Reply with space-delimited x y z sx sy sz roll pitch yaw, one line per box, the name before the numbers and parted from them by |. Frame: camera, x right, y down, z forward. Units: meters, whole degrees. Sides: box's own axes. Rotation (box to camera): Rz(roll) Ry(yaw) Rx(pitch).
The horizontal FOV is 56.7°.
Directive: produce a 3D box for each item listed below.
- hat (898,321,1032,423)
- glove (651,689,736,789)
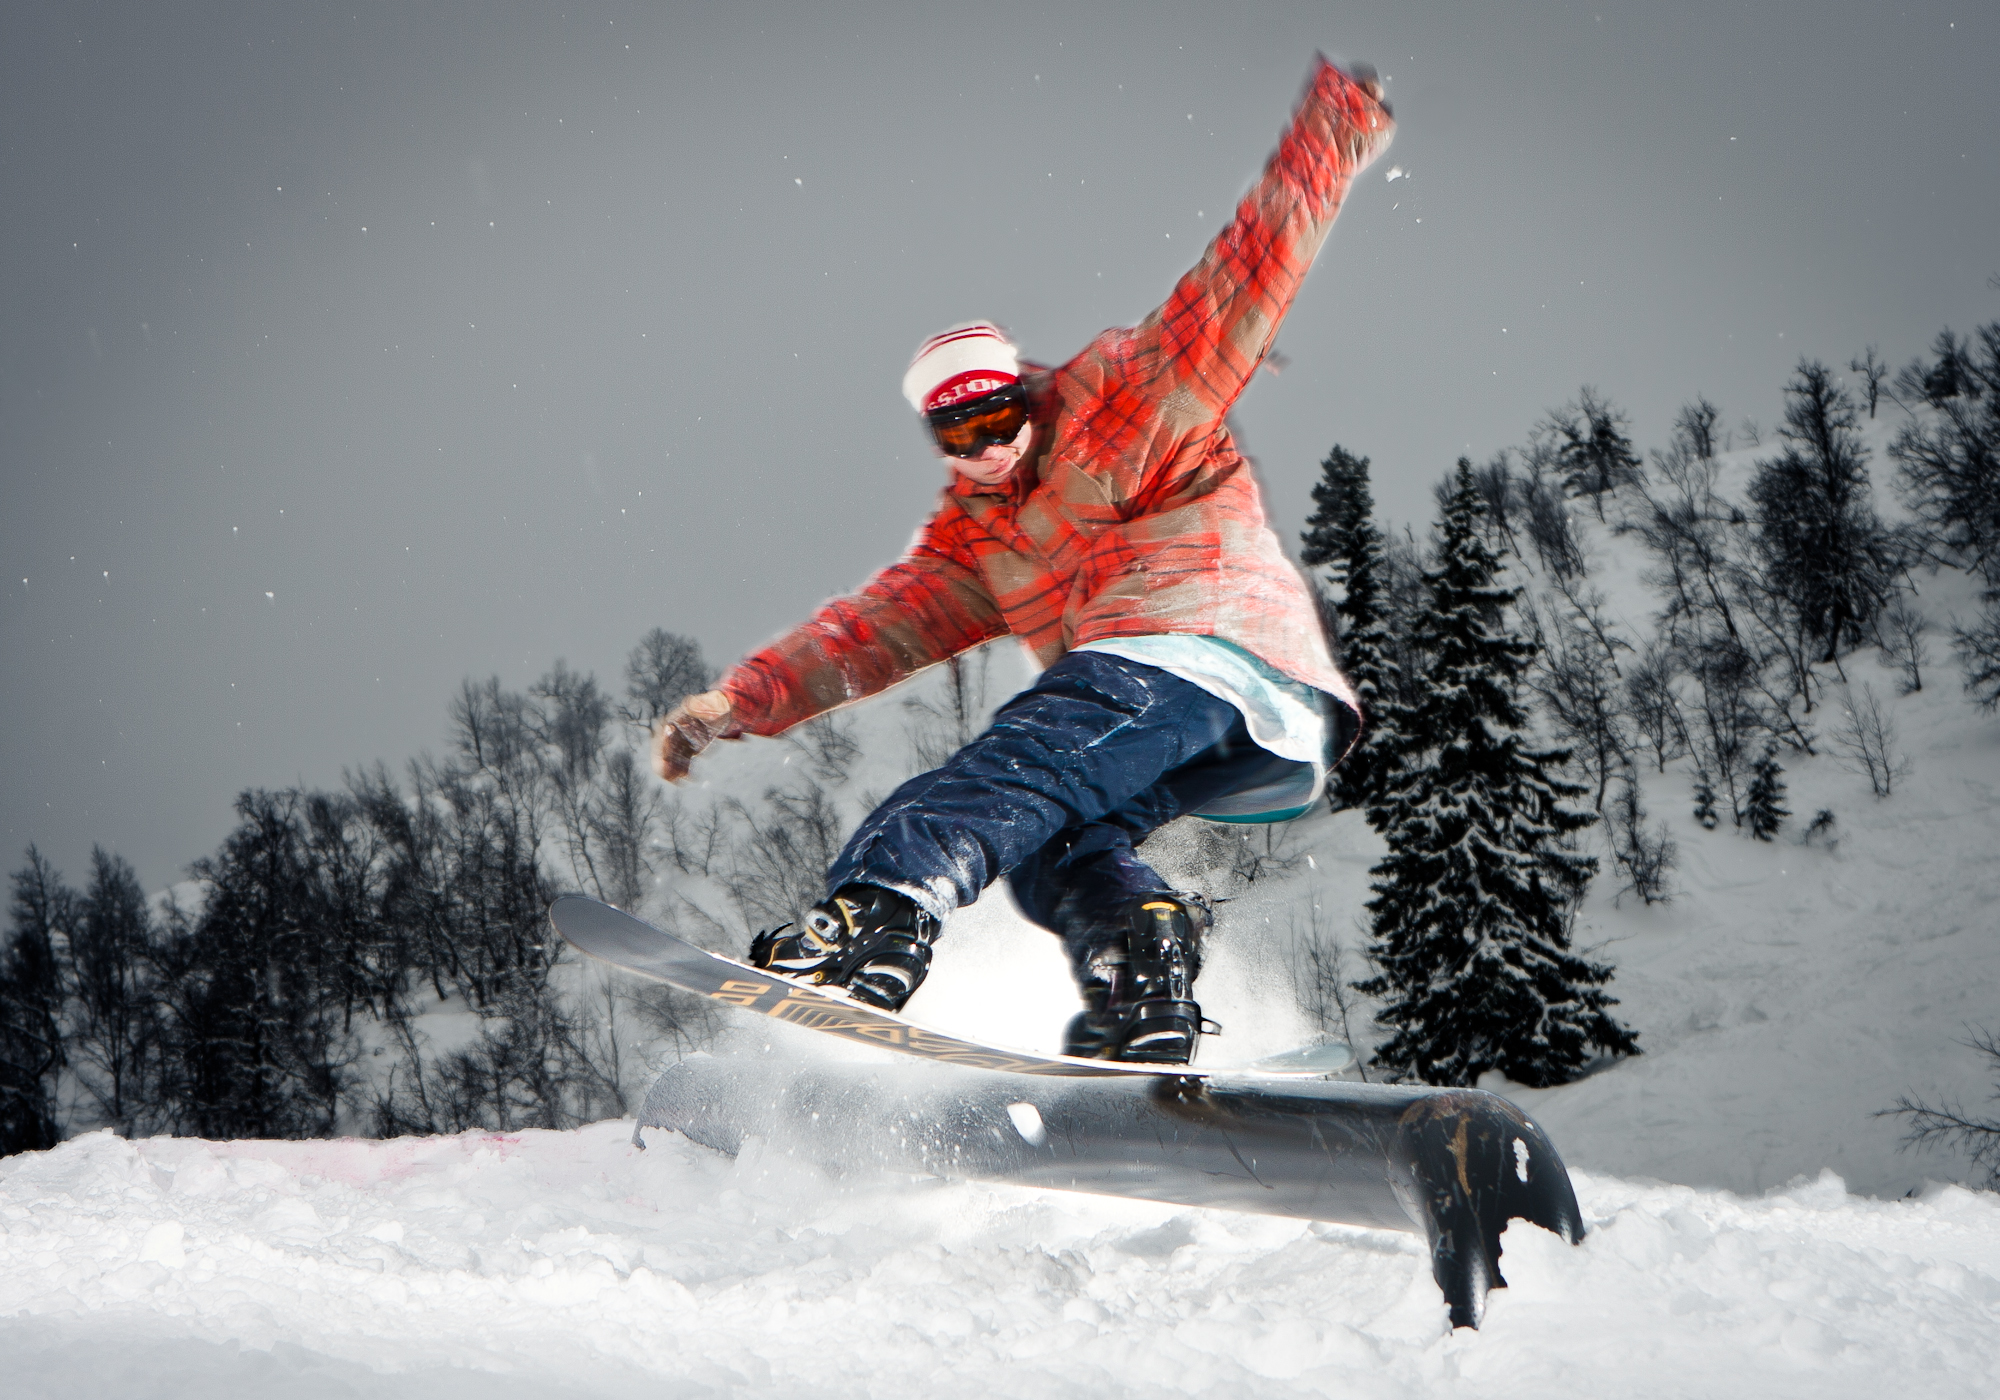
hat | -0.119 -1.163 6.797 0.399 0.336 0.562 -9 -3 -1
glove | -1.159 0.102 6.822 0.360 0.144 0.228 -46 -56 4
